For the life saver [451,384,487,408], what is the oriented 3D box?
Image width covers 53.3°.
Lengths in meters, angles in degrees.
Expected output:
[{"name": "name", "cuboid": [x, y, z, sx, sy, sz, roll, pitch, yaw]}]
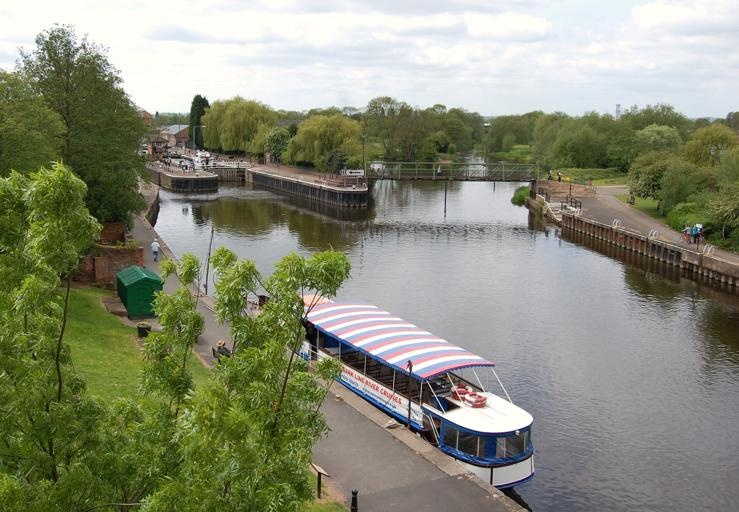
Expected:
[{"name": "life saver", "cuboid": [4.197, 5.906, 31.223, 0.720, 0.339, 0.961, -2, 11, -21]}]

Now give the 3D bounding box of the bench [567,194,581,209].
[{"name": "bench", "cuboid": [24.692, -6.431, 88.571, 1.391, 0.990, 2.550, 0, 16, 2]}]
